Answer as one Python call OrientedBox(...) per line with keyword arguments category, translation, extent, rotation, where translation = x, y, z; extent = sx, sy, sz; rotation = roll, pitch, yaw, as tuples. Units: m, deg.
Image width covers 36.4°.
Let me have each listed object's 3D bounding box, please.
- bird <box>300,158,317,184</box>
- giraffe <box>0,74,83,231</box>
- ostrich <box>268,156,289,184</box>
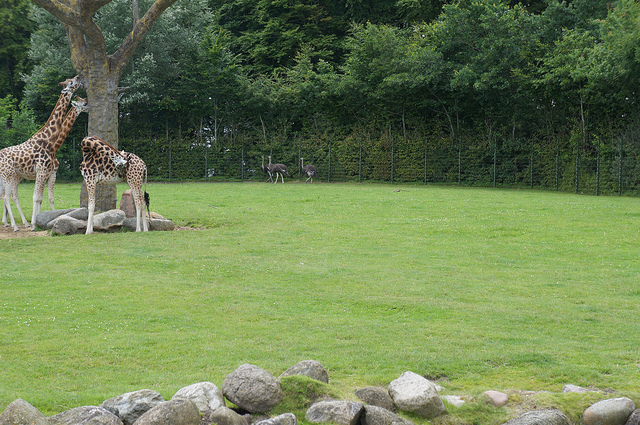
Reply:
OrientedBox(category="bird", translation=(-0.770, -2.797, 64.037), extent=(1.084, 1.465, 2.238), rotation=(0, 3, -1))
OrientedBox(category="giraffe", translation=(-12.230, -2.618, 42.163), extent=(2.957, 6.417, 1.318), rotation=(-1, 4, -16))
OrientedBox(category="ostrich", translation=(-2.770, -2.900, 64.264), extent=(1.174, 1.697, 2.481), rotation=(0, 3, -1))
